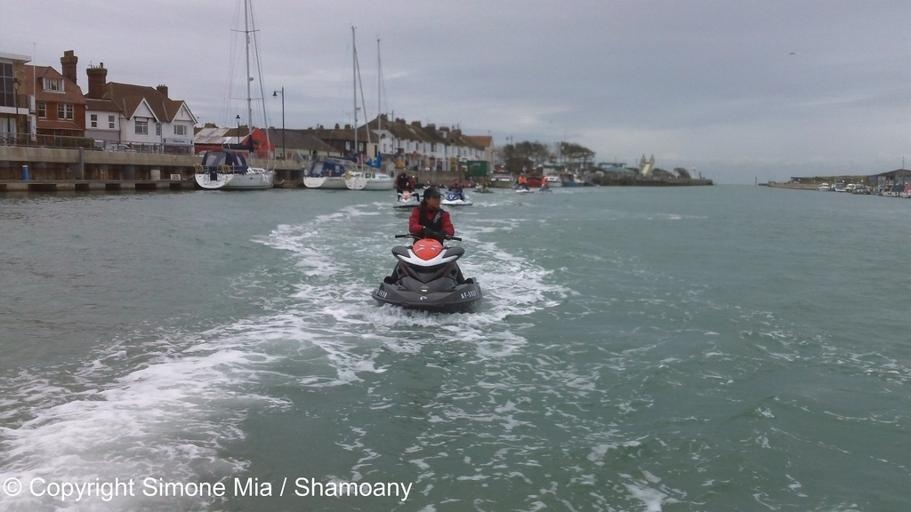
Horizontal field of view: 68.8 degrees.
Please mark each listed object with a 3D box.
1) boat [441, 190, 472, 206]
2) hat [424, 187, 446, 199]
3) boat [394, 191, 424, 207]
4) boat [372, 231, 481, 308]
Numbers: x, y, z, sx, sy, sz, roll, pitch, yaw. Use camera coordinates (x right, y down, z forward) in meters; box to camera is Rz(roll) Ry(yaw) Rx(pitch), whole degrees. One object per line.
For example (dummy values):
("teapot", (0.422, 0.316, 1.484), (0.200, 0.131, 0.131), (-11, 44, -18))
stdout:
("boat", (-0.010, -4.371, 51.983), (1.553, 0.809, 2.792), (0, 0, 10))
("hat", (-0.617, -1.732, 18.328), (0.395, 0.382, 0.451), (1, 20, -1))
("boat", (-3.367, -3.707, 45.003), (2.349, 1.232, 3.967), (-1, 7, -1))
("boat", (-0.966, 0.068, 18.790), (3.109, 1.501, 4.483), (3, 19, -7))
